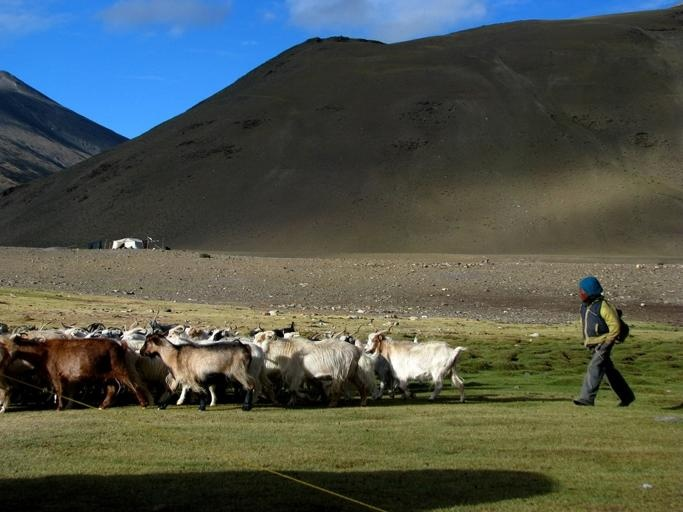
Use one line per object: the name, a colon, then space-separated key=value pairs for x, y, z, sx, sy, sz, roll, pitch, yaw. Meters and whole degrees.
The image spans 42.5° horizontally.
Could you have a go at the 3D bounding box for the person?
person: x=5.016 y=1.630 z=16.990 sx=1.004 sy=2.517 sz=0.895 roll=-3 pitch=-12 yaw=14
